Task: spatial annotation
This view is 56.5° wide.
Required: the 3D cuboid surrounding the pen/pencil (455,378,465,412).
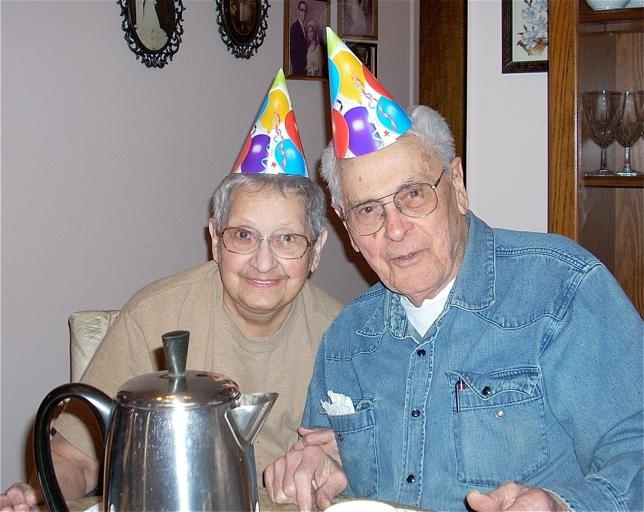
[{"bbox_3d":[0.276,0.281,1.195,0.022,0.062,0.019,-2,-1,24],"label":"pen/pencil"}]
